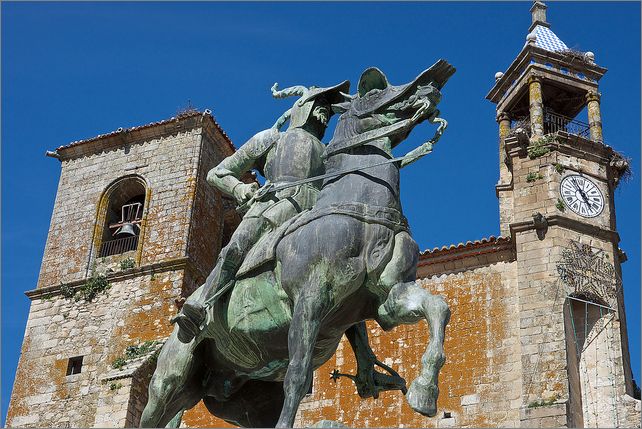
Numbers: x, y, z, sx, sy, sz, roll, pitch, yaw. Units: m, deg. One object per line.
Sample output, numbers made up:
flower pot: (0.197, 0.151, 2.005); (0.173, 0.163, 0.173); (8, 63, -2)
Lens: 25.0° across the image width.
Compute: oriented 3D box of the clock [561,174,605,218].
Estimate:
clock: (9.296, -0.662, 51.321); (1.669, 1.667, 0.112); (9, -42, -36)
